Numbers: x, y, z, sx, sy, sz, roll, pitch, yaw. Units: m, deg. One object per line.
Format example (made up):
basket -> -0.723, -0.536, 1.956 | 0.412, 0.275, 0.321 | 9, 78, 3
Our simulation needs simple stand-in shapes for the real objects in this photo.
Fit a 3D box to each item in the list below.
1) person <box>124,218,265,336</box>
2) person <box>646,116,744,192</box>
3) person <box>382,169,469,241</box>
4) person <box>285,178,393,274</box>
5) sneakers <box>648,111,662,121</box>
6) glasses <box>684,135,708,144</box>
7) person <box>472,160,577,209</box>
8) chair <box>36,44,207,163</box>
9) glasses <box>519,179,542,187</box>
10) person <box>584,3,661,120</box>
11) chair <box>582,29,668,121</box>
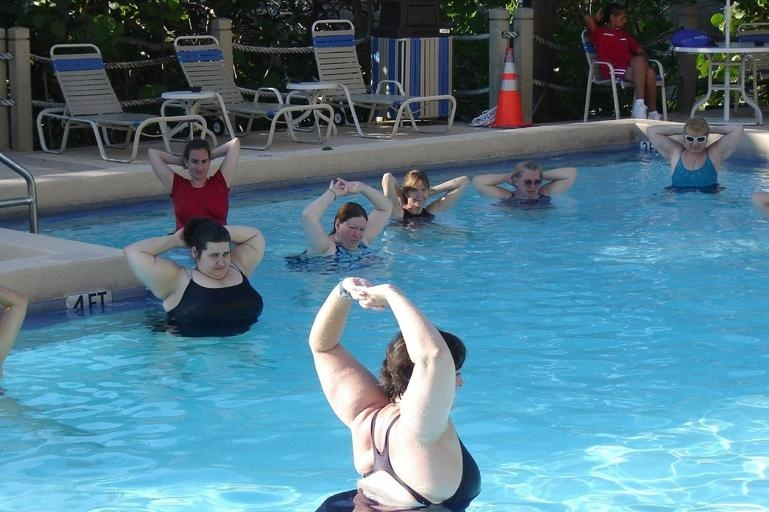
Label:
person -> -1.554, 0.206, 6.253 | 0.905, 1.058, 0.518 | -21, 27, -39
person -> 4.217, -1.424, 10.334 | 1.140, 0.980, 0.964 | 1, 15, 21
person -> 0.515, -0.683, 8.896 | 0.683, 0.752, 1.271 | 3, 14, 27
person -> -0.500, -0.302, 7.617 | 1.291, 0.975, 0.643 | -13, 20, -39
sneakers -> 4.717, -2.487, 13.277 | 0.142, 0.142, 0.389 | 8, 20, 27
glasses -> 4.131, -1.578, 10.086 | 0.253, 0.117, 0.167 | -1, 13, 10
person -> 1.848, -0.988, 9.850 | 1.292, 0.565, 0.613 | -11, 15, -31
chair -> -3.893, -2.338, 11.179 | 3.371, 1.865, 1.858 | 12, 18, 38
glasses -> 1.868, -0.948, 9.602 | 0.240, 0.098, 0.096 | -12, 16, -33
person -> 4.189, -3.498, 13.412 | 1.126, 2.083, 1.382 | -7, 15, -6
chair -> 4.418, -3.263, 13.687 | 1.770, 1.652, 1.731 | 4, 22, 36
